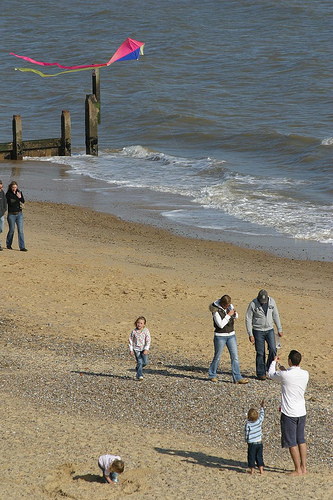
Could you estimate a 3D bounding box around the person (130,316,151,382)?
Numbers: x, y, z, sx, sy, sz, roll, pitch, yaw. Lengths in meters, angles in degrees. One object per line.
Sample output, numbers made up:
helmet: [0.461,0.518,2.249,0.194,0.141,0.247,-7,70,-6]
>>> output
person: [-0.461,1.620,16.513,0.314,1.224,0.574,5,12,-2]

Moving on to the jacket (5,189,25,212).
jacket: [-3.421,-1.111,22.639,0.411,0.551,0.374,3,12,-9]

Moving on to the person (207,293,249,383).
person: [0.999,1.493,16.943,0.720,1.591,0.516,-4,15,-36]

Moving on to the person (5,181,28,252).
person: [-3.410,-0.766,22.960,0.561,1.750,1.272,4,12,-8]

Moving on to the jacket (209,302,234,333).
jacket: [0.944,1.139,16.807,0.440,0.530,0.374,-9,11,-31]

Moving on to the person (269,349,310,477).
person: [1.686,2.226,13.919,0.493,1.644,0.518,-2,-6,34]
